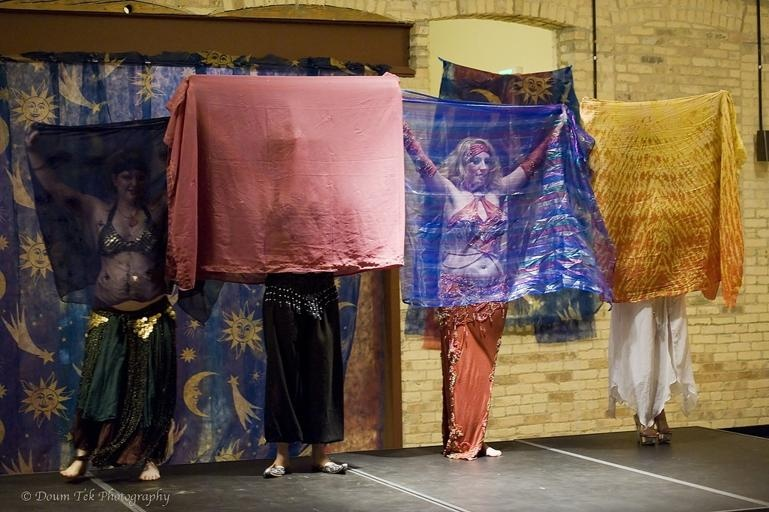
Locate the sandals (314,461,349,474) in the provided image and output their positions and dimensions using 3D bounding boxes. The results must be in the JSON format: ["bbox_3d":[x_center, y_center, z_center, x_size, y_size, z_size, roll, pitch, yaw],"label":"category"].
[{"bbox_3d":[-0.380,1.567,10.192,0.205,0.048,0.096,-2,-1,14],"label":"sandals"}]

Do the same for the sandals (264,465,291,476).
[{"bbox_3d":[-0.789,1.575,10.076,0.150,0.048,0.075,4,-13,-18],"label":"sandals"}]
